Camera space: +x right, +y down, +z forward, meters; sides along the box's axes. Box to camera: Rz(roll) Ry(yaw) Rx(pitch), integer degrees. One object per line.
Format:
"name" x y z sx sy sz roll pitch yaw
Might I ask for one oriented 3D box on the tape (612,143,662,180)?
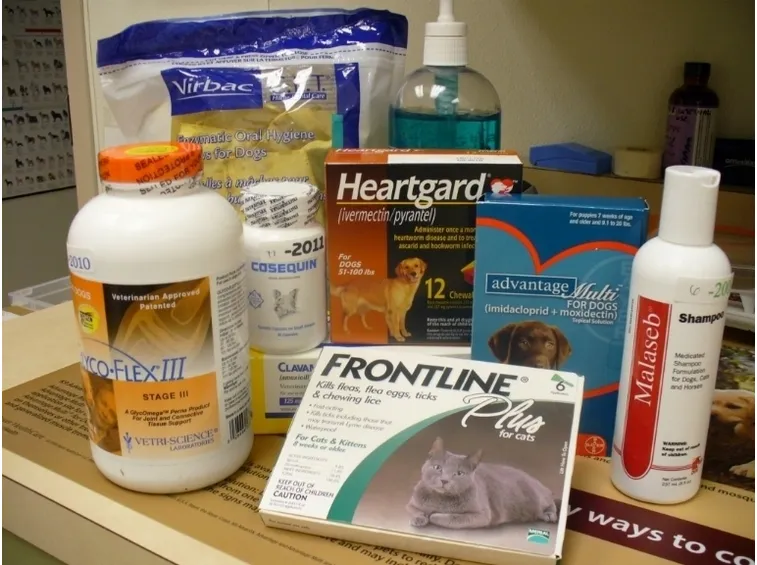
"tape" 0.437 -0.199 1.041 0.068 0.038 0.064 0 27 8
